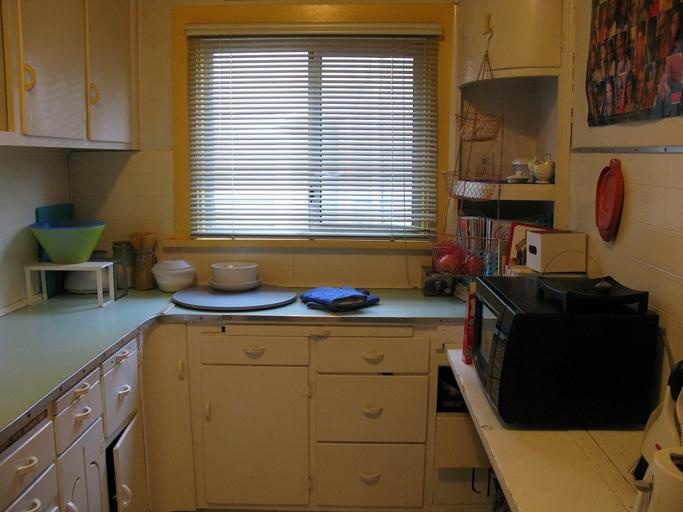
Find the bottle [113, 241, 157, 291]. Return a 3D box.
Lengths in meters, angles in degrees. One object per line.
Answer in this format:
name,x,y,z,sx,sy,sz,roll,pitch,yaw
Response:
bottle,-1.108,0.040,3.267,0.228,0.278,0.238,-1,7,-17

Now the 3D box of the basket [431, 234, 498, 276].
basket,0.629,0.008,3.019,0.230,0.107,0.189,11,1,33

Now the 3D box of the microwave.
microwave,0.809,0.306,2.172,0.585,0.477,0.453,-2,11,3

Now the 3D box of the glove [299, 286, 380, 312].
glove,-0.035,0.215,2.998,0.393,0.077,0.255,3,13,26

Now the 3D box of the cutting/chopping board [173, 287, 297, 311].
cutting/chopping board,-0.547,0.220,3.036,0.626,0.053,0.390,-1,11,5

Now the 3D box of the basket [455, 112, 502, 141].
basket,0.703,-0.647,3.045,0.156,0.107,0.192,-5,6,-44

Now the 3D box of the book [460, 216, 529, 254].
book,0.755,-0.112,2.980,0.294,0.188,0.321,6,5,12

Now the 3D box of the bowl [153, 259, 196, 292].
bowl,-0.920,0.105,3.274,0.242,0.176,0.249,1,9,0

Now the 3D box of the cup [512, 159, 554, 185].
cup,0.912,-0.412,2.892,0.216,0.113,0.186,-1,11,4
